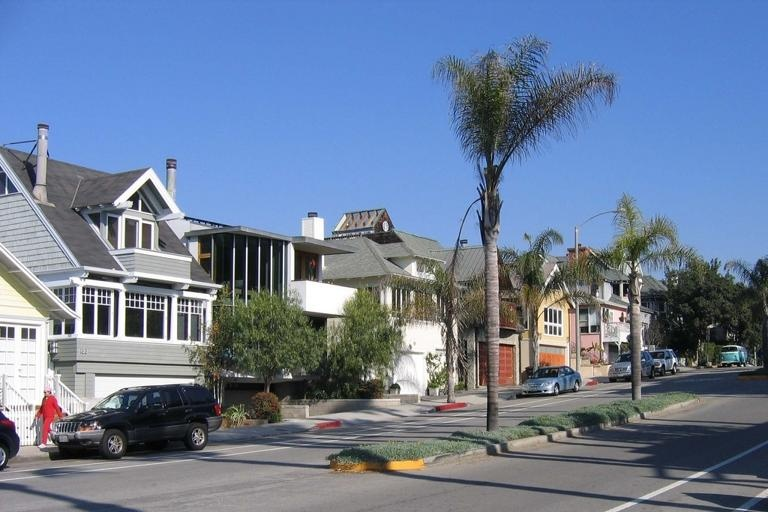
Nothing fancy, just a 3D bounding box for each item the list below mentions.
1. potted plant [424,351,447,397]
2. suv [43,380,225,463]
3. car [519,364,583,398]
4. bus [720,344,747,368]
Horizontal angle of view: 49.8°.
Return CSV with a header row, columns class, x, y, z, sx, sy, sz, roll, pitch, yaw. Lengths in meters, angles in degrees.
class,x,y,z,sx,sy,sz,roll,pitch,yaw
potted plant,3.458,7.762,55.033,1.592,2.549,0.743,5,-11,-26
suv,-9.121,6.156,30.923,2.651,2.236,4.892,-14,-18,41
car,9.851,7.442,48.897,3.646,1.527,1.938,3,0,-41
bus,31.758,9.197,75.480,2.183,1.900,1.703,2,0,15
